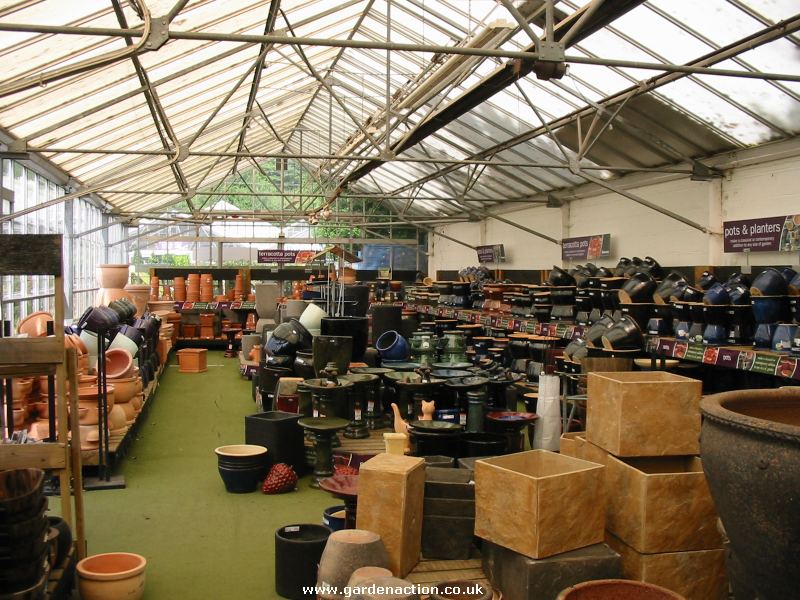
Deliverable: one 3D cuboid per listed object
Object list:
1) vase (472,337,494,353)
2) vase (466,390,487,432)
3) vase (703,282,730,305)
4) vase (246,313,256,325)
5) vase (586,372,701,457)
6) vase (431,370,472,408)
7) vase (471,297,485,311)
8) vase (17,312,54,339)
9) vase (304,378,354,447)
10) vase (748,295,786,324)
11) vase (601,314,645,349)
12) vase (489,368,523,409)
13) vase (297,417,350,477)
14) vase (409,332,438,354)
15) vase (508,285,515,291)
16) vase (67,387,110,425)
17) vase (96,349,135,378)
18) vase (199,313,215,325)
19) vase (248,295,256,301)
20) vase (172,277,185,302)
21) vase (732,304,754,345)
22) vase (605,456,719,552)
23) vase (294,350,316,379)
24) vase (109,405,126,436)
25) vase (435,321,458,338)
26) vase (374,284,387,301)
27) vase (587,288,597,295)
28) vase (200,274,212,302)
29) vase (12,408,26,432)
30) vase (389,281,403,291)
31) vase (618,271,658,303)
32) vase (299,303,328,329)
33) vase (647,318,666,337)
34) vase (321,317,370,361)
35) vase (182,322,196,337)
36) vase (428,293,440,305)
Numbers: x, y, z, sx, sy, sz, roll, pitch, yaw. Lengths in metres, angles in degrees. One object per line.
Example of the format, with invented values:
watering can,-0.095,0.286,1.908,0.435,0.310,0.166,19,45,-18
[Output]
vase,1.221,0.651,9.471,0.277,0.143,0.231,1,-6,-4
vase,0.659,0.953,5.605,0.164,0.329,0.343,1,1,5
vase,2.605,-0.055,5.421,0.184,0.167,0.157,-20,22,-7
vase,-3.220,0.419,14.193,0.205,0.258,0.424,1,1,-16
vase,1.228,0.580,3.299,0.541,0.387,0.268,1,1,12
vase,0.475,0.813,5.987,0.396,0.203,0.332,1,-4,-2
vase,1.398,0.073,11.584,0.330,0.167,0.277,0,1,8
vase,-3.203,0.215,5.728,0.243,0.203,0.458,0,1,-29
vase,-0.624,0.965,5.782,0.699,0.539,0.588,0,-1,-10
vase,2.861,0.072,5.056,0.265,0.136,0.221,1,-4,-3
vase,2.033,0.303,5.916,0.373,0.307,0.243,0,2,-37
vase,1.053,0.836,6.241,0.478,0.350,0.379,0,-1,-10
vase,-0.616,1.172,5.181,0.365,0.457,0.439,1,1,-12
vase,0.265,0.465,7.064,0.304,0.148,0.264,-1,-3,19
vase,1.753,-0.172,10.245,0.098,0.099,0.258,1,1,-5
vase,-2.474,0.870,5.301,0.243,0.309,0.679,1,1,-23
vase,-2.603,0.587,6.077,0.230,0.252,0.255,1,1,-21
vase,-4.180,0.432,14.337,0.391,0.261,0.258,0,-4,-6
vase,-3.395,-0.039,15.038,0.232,0.120,0.195,0,-4,5
vase,-4.908,-0.237,14.638,0.320,0.503,0.281,0,2,-30
vase,2.835,0.203,5.382,0.196,0.320,0.127,1,1,5
vase,1.271,0.996,3.354,0.635,0.282,0.537,-2,4,-11
vase,-0.935,0.665,6.692,0.307,0.270,0.275,1,-5,-3
vase,-2.586,1.071,6.003,0.128,0.234,0.445,1,1,-20
vase,0.777,0.485,10.858,0.378,0.201,0.339,0,0,23
vase,-0.469,-0.183,16.533,0.499,0.269,0.430,-1,-15,3
vase,2.180,-0.082,7.378,0.061,0.042,0.072,3,-3,-12
vase,-4.312,-0.247,14.620,0.256,0.589,0.448,1,1,-17
vase,-2.941,0.907,5.067,0.074,0.156,0.167,1,1,-21
vase,-0.067,-0.326,16.579,0.315,0.164,0.276,0,-3,2
vase,2.294,-0.105,6.276,0.341,0.302,0.186,1,1,15
vase,-0.999,0.210,7.472,0.357,0.285,0.335,5,2,28
vase,2.389,0.248,6.044,0.199,0.127,0.175,0,-6,7
vase,-0.593,0.418,7.047,0.585,0.452,0.522,1,0,22
vase,-4.612,0.678,14.354,0.283,0.292,0.352,1,1,-17
vase,0.697,-0.011,13.171,0.271,0.146,0.231,1,-3,11
